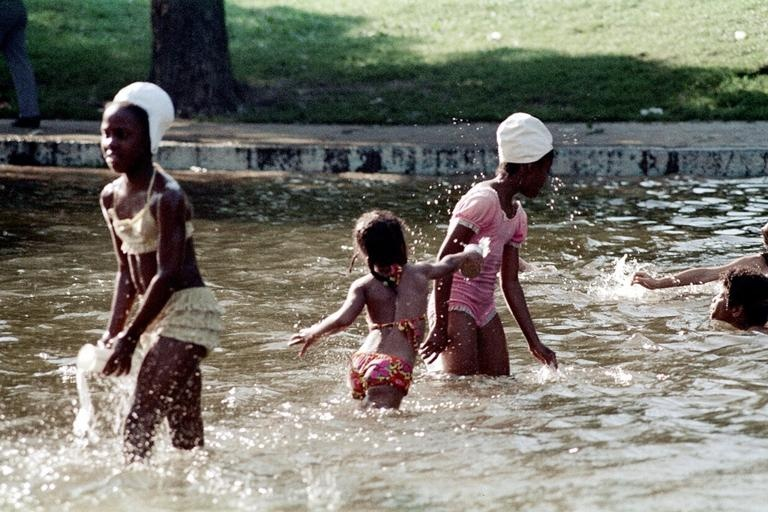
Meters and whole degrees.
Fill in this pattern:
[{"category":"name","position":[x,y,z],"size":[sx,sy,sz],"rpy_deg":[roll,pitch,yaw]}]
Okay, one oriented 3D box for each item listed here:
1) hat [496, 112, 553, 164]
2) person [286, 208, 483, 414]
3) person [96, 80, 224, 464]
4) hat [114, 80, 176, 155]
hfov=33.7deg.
[{"category":"hat","position":[1.081,-0.917,9.806],"size":[0.368,0.319,0.487],"rpy_deg":[-4,-10,43]},{"category":"person","position":[0.033,0.389,9.643],"size":[1.391,1.450,0.626],"rpy_deg":[0,12,-3]},{"category":"person","position":[-1.619,0.089,9.031],"size":[0.850,2.628,0.656],"rpy_deg":[-2,13,-11]},{"category":"hat","position":[-1.808,-1.016,9.120],"size":[0.490,0.473,0.489],"rpy_deg":[7,11,38]}]
